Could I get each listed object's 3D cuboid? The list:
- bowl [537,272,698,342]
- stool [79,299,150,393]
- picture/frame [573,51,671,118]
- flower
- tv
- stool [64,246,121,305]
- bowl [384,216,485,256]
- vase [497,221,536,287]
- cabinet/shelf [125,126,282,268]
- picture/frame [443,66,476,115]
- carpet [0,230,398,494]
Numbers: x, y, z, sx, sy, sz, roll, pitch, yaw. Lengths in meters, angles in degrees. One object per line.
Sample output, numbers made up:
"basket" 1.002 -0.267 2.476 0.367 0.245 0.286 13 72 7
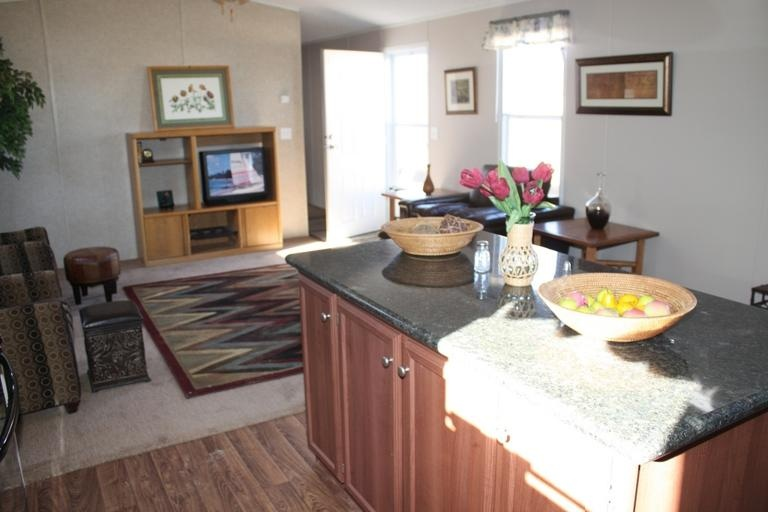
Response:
"bowl" 1.005 0.212 2.373 0.596 0.140 0.581 -4 17 1
"stool" -2.041 0.809 4.288 0.441 0.571 0.455 -12 -26 -17
"picture/frame" 2.298 -1.651 5.358 0.079 0.582 1.006 -15 18 -32
"flower" 0.638 -0.314 2.861 0.438 0.346 0.288 0 16 15
"tv" -1.938 -1.027 7.015 0.751 0.575 0.256 -9 12 -30
"stool" -2.952 0.195 5.649 0.545 0.486 0.558 12 20 35
"bowl" 0.305 -0.114 3.279 0.593 0.142 0.588 -1 12 0
"vase" 0.714 -0.020 2.868 0.220 0.300 0.224 2 11 37
"cabinet/shelf" -2.310 -0.744 6.929 1.709 1.477 0.478 -10 18 -26
"picture/frame" 0.976 -2.119 7.118 0.565 0.526 0.032 -17 21 -36
"carpet" -1.310 0.817 3.918 2.159 0.031 2.321 -5 14 -25
